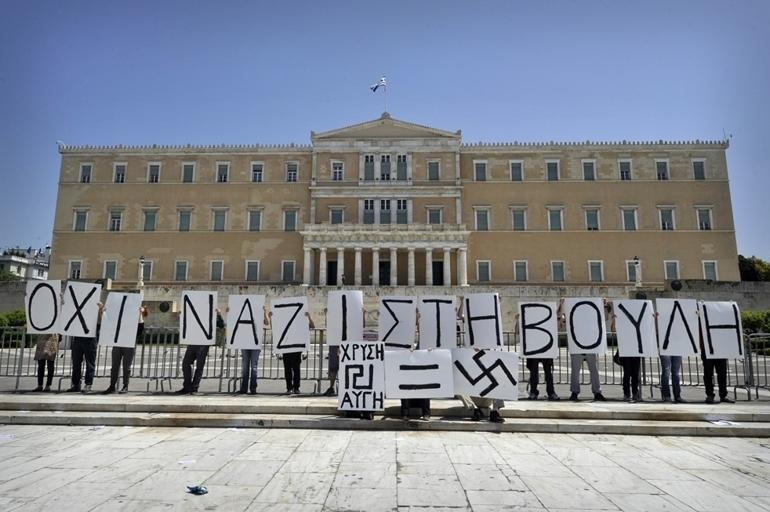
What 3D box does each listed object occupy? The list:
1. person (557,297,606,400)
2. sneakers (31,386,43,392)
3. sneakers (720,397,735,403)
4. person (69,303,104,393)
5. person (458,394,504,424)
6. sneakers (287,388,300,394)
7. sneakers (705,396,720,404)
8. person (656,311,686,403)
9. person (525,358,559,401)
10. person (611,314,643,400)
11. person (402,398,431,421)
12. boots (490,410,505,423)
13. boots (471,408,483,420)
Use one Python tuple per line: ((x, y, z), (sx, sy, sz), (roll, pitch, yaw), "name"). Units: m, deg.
((5.210, 2.464, 15.505), (1.145, 2.685, 1.024), (2, 8, 11), "person")
((-9.372, 3.592, 15.984), (0.445, 0.171, 0.151), (-4, -10, 43), "sneakers")
((8.940, 3.781, 15.531), (0.437, 0.166, 0.144), (1, -5, -6), "sneakers")
((-8.067, 2.476, 15.919), (0.651, 2.398, 0.986), (6, 9, 34), "person")
((2.297, 3.596, 13.960), (0.400, 0.515, 1.314), (3, -1, -39), "person")
((-2.472, 3.617, 15.757), (0.417, 0.159, 0.124), (10, -15, -17), "sneakers")
((8.489, 3.787, 15.423), (0.179, 0.204, 0.488), (-6, -22, 23), "sneakers")
((7.659, 3.264, 15.858), (0.608, 1.417, 1.591), (4, 9, 25), "person")
((4.151, 3.198, 15.594), (0.864, 1.202, 1.105), (3, 8, 16), "person")
((6.445, 3.104, 15.659), (0.685, 1.388, 1.085), (1, 8, 5), "person")
((0.734, 3.618, 13.921), (0.796, 0.512, 0.426), (0, -6, 8), "person")
((2.491, 3.722, 13.630), (0.442, 0.302, 0.158), (-3, -2, -9), "boots")
((2.176, 3.720, 13.880), (0.262, 0.452, 0.249), (-2, -17, 11), "boots")
